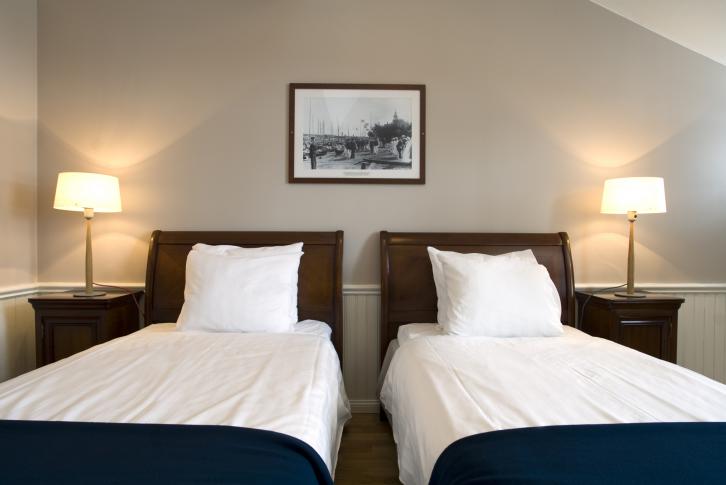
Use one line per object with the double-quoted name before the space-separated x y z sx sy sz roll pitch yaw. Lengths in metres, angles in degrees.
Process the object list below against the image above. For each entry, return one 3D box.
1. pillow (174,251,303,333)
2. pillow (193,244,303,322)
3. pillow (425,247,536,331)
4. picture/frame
"pillow" -0.947 0.370 4.319 0.923 0.652 0.373 1 -5 12
"pillow" -0.894 0.311 4.216 0.579 0.439 0.095 0 -16 1
"pillow" 0.679 0.303 4.113 0.638 0.693 0.200 2 -7 0
"picture/frame" -0.060 -0.915 4.656 0.798 0.586 0.038 0 3 0
